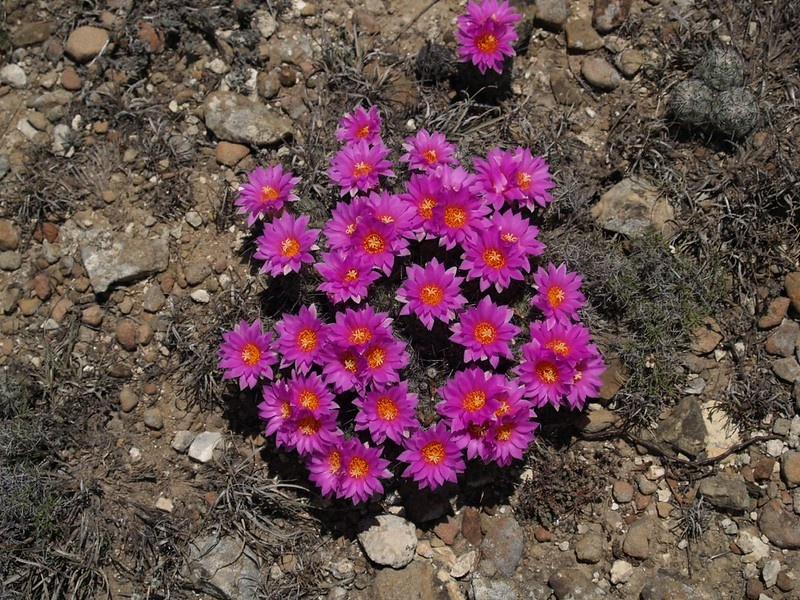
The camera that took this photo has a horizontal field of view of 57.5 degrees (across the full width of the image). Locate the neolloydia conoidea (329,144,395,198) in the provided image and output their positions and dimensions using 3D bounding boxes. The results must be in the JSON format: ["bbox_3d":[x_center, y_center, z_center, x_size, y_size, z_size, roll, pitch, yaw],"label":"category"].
[{"bbox_3d":[-0.315,-1.026,5.583,0.455,0.419,0.492,-14,25,-20],"label":"neolloydia conoidea"}]

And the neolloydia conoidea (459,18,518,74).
[{"bbox_3d":[0.687,-2.057,5.849,0.365,0.419,0.400,-3,23,1],"label":"neolloydia conoidea"}]

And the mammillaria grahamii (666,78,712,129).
[{"bbox_3d":[2.409,-1.631,6.138,0.339,0.397,0.334,-8,-7,16],"label":"mammillaria grahamii"}]

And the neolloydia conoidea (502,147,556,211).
[{"bbox_3d":[1.018,-0.920,5.524,0.429,0.475,0.173,21,-15,-32],"label":"neolloydia conoidea"}]

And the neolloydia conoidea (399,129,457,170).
[{"bbox_3d":[0.208,-1.175,5.679,0.406,0.169,0.424,-7,-8,21],"label":"neolloydia conoidea"}]

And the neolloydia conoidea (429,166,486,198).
[{"bbox_3d":[0.407,-0.910,5.450,0.255,0.073,0.270,10,31,-34],"label":"neolloydia conoidea"}]

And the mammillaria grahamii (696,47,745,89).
[{"bbox_3d":[2.680,-1.941,6.100,0.317,0.372,0.356,6,31,9],"label":"mammillaria grahamii"}]

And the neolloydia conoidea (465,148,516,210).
[{"bbox_3d":[0.708,-0.979,5.522,0.311,0.444,0.326,-15,26,-20],"label":"neolloydia conoidea"}]

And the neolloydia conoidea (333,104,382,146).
[{"bbox_3d":[-0.330,-1.410,5.792,0.428,0.186,0.415,-11,-5,42],"label":"neolloydia conoidea"}]

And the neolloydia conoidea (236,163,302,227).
[{"bbox_3d":[-0.982,-0.845,5.709,0.510,0.537,0.438,0,13,9],"label":"neolloydia conoidea"}]
